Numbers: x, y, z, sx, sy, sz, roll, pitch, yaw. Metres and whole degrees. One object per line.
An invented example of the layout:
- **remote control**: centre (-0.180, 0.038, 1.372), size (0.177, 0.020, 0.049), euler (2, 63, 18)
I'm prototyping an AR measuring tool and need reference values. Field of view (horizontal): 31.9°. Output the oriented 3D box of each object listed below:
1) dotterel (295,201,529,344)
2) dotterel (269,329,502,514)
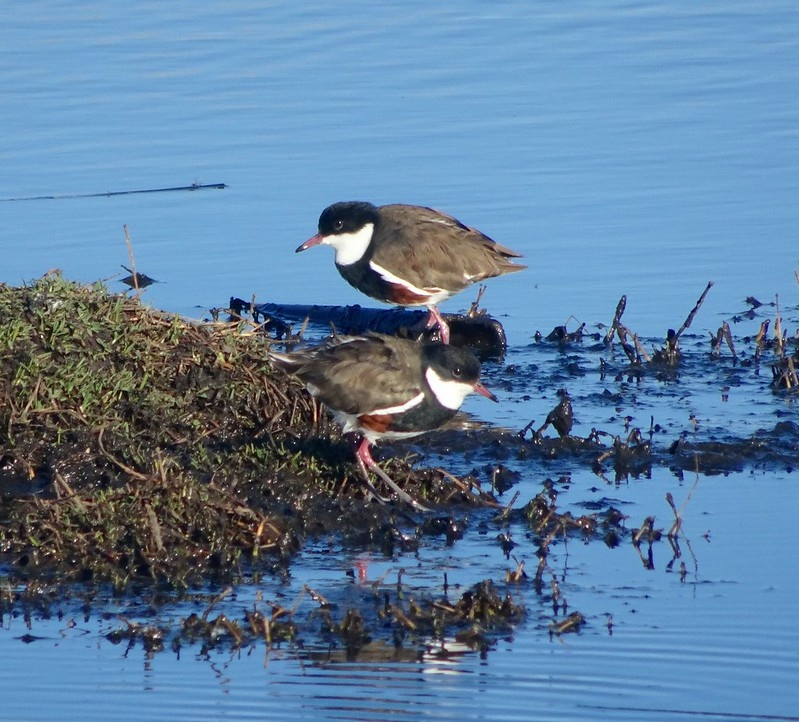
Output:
- **dotterel**: centre (0.080, -0.957, 14.493), size (2.509, 1.350, 1.097), euler (-9, 20, -25)
- **dotterel**: centre (-0.148, 0.304, 10.585), size (1.848, 1.057, 0.786), euler (11, 24, 16)
